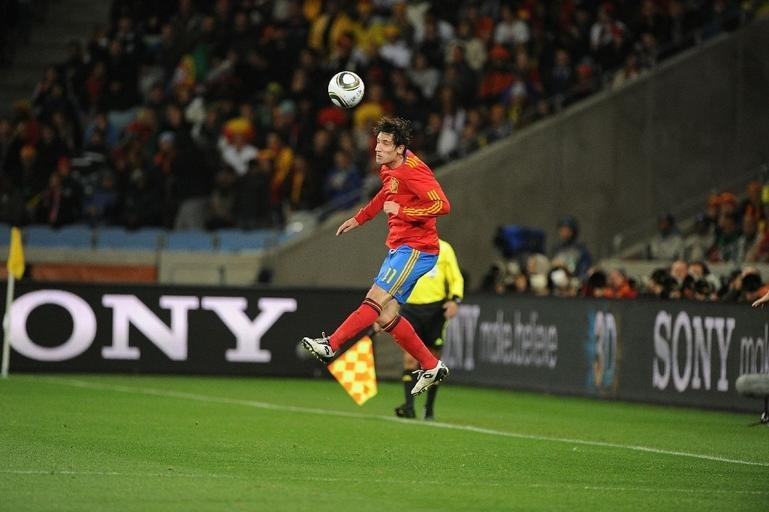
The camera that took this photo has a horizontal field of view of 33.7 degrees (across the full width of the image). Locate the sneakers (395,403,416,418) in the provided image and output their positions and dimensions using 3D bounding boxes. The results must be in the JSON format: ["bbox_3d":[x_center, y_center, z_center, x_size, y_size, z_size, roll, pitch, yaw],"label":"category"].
[{"bbox_3d":[0.297,2.185,17.616,0.287,0.206,0.326,3,-10,1],"label":"sneakers"}]
